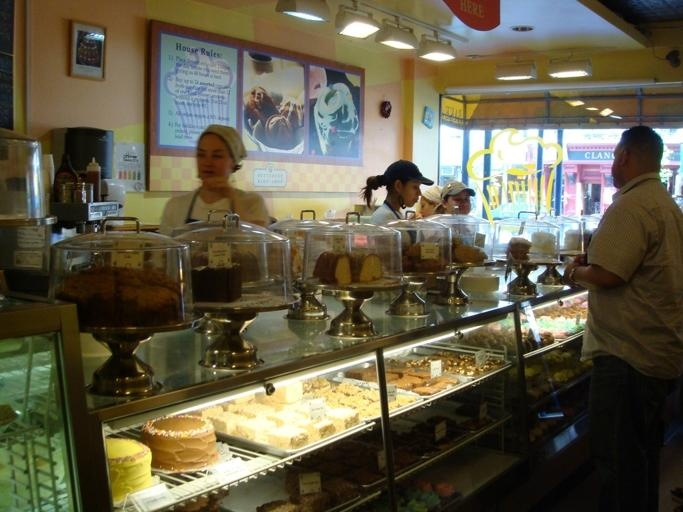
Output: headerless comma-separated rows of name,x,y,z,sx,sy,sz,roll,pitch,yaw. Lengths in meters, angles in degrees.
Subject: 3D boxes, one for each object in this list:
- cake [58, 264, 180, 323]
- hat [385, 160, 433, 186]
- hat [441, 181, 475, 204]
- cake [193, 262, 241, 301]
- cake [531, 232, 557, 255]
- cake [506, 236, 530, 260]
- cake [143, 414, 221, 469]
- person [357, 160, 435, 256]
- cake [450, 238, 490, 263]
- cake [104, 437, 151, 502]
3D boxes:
cake,-0.608,0.112,1.444,0.228,0.090,0.216,1,-1,21
hat,0.508,-0.647,4.087,0.328,0.143,0.193,-1,6,-1
hat,1.240,-0.685,5.705,0.229,0.150,0.295,-5,-5,-39
cake,-0.424,0.094,1.791,0.160,0.120,0.059,-2,6,-15
cake,1.389,-0.083,3.714,0.189,0.154,0.174,0,-3,6
cake,1.150,-0.048,3.451,0.145,0.138,0.155,2,6,18
cake,-0.508,0.603,1.755,0.254,0.115,0.234,4,4,-13
person,0.398,-0.397,4.216,0.735,0.605,0.697,1,20,-9
cake,0.745,-0.030,3.110,0.193,0.140,0.187,1,6,11
cake,-0.639,0.618,1.595,0.079,0.189,0.164,4,7,35
